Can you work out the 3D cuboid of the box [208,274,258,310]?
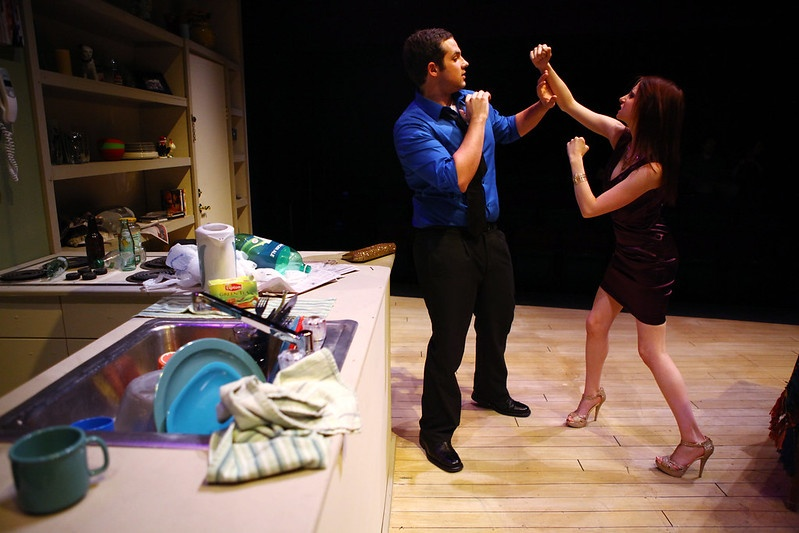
[{"bbox_3d":[-0.643,0.096,2.067,0.202,0.136,0.110,0,0,-17],"label":"box"}]

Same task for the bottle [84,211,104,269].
[{"bbox_3d":[-1.614,-0.128,2.840,0.094,0.314,0.093,-14,-21,-5],"label":"bottle"}]

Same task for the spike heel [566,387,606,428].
[{"bbox_3d":[1.097,0.830,3.190,0.304,0.200,0.111,-4,4,-20],"label":"spike heel"}]

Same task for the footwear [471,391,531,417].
[{"bbox_3d":[0.636,0.857,3.385,0.365,0.154,0.133,2,5,14],"label":"footwear"}]

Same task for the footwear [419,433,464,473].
[{"bbox_3d":[0.220,1.003,2.938,0.112,0.115,0.278,-4,5,-29],"label":"footwear"}]

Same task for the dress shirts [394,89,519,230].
[{"bbox_3d":[0.362,-0.603,2.878,0.750,0.767,0.551,-16,15,-31],"label":"dress shirts"}]

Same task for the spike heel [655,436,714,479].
[{"bbox_3d":[1.467,0.987,2.858,0.300,0.230,0.164,1,-1,13],"label":"spike heel"}]

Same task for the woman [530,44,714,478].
[{"bbox_3d":[1.204,-0.056,2.880,0.472,2.244,0.889,-7,12,-29],"label":"woman"}]

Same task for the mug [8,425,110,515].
[{"bbox_3d":[-0.890,0.517,1.431,0.232,0.170,0.169,0,7,-31],"label":"mug"}]
